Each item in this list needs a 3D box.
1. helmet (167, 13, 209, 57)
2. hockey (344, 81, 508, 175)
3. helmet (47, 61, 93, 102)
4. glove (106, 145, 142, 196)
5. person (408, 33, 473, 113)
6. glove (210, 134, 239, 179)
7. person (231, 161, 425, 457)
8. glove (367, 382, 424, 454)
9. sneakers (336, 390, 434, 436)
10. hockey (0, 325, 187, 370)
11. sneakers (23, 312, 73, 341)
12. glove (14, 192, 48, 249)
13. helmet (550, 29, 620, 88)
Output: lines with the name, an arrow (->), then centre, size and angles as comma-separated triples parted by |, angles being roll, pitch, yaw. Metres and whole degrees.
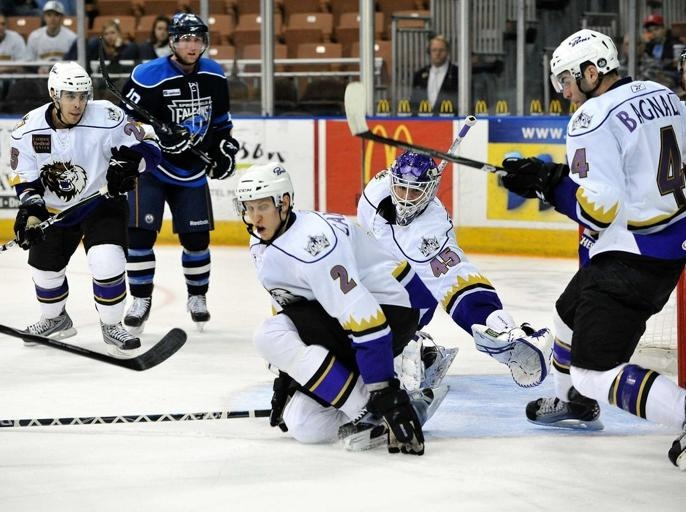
helmet -> -0.895, -1.294, 5.720 | 0.214, 0.223, 0.227 | -2, 10, -10
hockey -> 0.326, -0.534, 4.058 | 0.608, 0.351, 0.436 | 2, 10, 14
helmet -> -1.392, -0.886, 5.042 | 0.205, 0.196, 0.272 | -3, 10, -16
glove -> -1.123, -0.436, 5.117 | 0.143, 0.277, 0.086 | 6, -22, 13
person -> 0.829, -1.527, 8.132 | 0.527, 0.991, 0.317 | 2, 18, 13
glove -> -0.722, -0.610, 5.961 | 0.159, 0.267, 0.098 | 31, -24, -33
person -> -0.054, 0.198, 3.811 | 0.715, 1.081, 0.522 | -1, 10, -1
glove -> 0.210, 0.605, 3.718 | 0.177, 0.284, 0.123 | -9, 3, 9
sneakers -> 0.212, 0.606, 3.951 | 0.448, 0.207, 0.147 | -4, -5, -41
hockey -> -1.249, 0.464, 4.856 | 0.920, 0.133, 0.132 | 9, -2, 32
sneakers -> -1.570, 0.388, 5.282 | 0.254, 0.177, 0.085 | -1, 27, -32
glove -> -1.589, -0.173, 5.036 | 0.165, 0.295, 0.104 | 14, -31, -38
helmet -> 0.956, -0.766, 3.861 | 0.230, 0.220, 0.189 | -4, 7, 13
